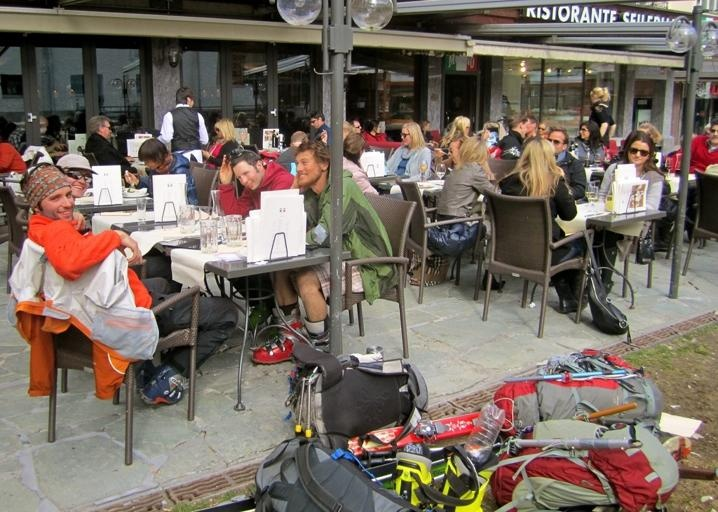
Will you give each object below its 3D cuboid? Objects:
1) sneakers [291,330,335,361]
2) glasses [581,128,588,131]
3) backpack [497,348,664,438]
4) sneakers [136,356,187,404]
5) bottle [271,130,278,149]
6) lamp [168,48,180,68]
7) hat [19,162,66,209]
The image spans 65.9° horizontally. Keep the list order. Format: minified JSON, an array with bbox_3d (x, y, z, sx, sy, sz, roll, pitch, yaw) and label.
[{"bbox_3d":[-0.294,0.586,3.453,0.198,0.162,0.491,19,-5,-5],"label":"sneakers"},{"bbox_3d":[3.657,-2.048,8.927,0.099,0.052,0.071,4,5,-21],"label":"glasses"},{"bbox_3d":[1.353,0.817,3.452,0.744,0.307,0.554,-5,8,-2],"label":"backpack"},{"bbox_3d":[-1.362,0.861,3.828,0.215,0.159,0.381,6,11,-3],"label":"sneakers"},{"bbox_3d":[-1.648,-2.331,10.938,0.071,0.306,0.171,3,1,-8],"label":"bottle"},{"bbox_3d":[-3.848,-4.137,11.542,0.244,0.363,0.185,-8,14,-26],"label":"lamp"},{"bbox_3d":[-1.876,-0.426,3.304,0.238,0.253,0.297,-9,14,-29],"label":"hat"}]
